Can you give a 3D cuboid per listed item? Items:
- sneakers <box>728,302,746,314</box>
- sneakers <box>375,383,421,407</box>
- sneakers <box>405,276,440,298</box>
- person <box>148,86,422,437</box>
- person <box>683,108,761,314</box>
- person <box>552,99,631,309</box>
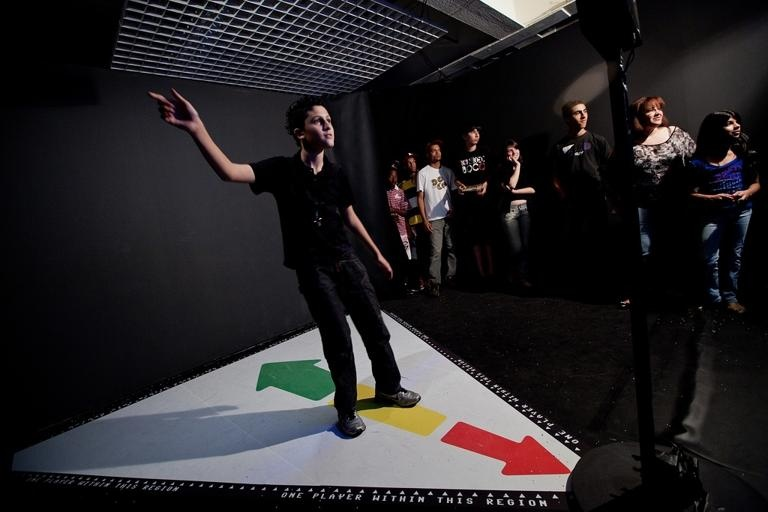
[{"bbox_3d":[3.242,0.496,4.358,0.050,0.069,0.158,-22,1,-4],"label":"sneakers"},{"bbox_3d":[0.126,1.162,3.921,0.379,0.147,0.154,-3,7,15],"label":"sneakers"},{"bbox_3d":[0.560,0.438,6.431,0.192,0.232,0.557,-6,-8,-41],"label":"sneakers"},{"bbox_3d":[-0.492,0.082,3.695,1.371,2.577,0.650,-6,10,-1],"label":"person"},{"bbox_3d":[3.117,-0.396,4.364,0.544,1.802,0.280,2,13,37],"label":"person"},{"bbox_3d":[2.281,-0.626,5.274,0.303,2.166,0.844,-12,12,-33],"label":"person"}]
